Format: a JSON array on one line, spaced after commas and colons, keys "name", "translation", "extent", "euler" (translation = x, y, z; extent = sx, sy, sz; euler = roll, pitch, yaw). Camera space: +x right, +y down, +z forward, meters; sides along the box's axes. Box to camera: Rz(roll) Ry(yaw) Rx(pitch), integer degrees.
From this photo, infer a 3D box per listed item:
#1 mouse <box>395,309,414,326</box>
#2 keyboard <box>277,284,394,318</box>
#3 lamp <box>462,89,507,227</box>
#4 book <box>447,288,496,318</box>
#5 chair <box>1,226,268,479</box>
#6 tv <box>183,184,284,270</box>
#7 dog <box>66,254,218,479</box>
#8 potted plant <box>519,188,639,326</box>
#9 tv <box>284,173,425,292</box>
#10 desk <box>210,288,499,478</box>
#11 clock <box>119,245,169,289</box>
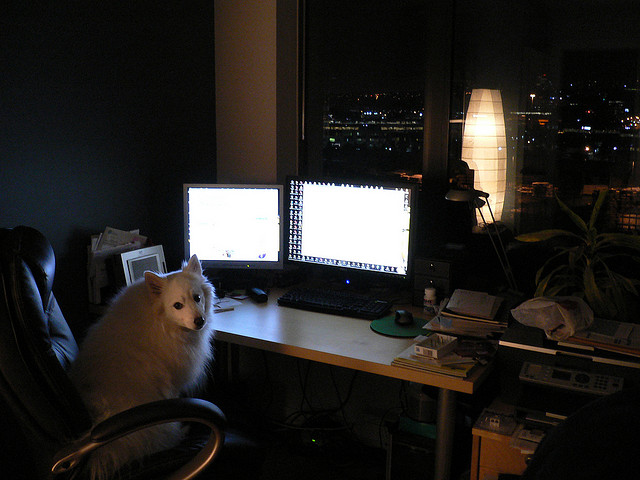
[{"name": "mouse", "translation": [0.386, 0.353, 2.530], "extent": [0.056, 0.048, 0.065], "euler": [0, 4, -3]}, {"name": "keyboard", "translation": [0.067, 0.308, 2.731], "extent": [0.547, 0.060, 0.192], "euler": [5, 15, 21]}, {"name": "lamp", "translation": [0.860, -0.442, 2.885], "extent": [0.231, 0.671, 0.063], "euler": [4, 14, 21]}, {"name": "book", "translation": [0.692, 0.289, 2.523], "extent": [0.129, 0.035, 0.135], "euler": [14, 40, 25]}, {"name": "chair", "translation": [-0.733, 0.383, 2.377], "extent": [0.953, 1.208, 0.816], "euler": [-6, 8, -18]}, {"name": "tv", "translation": [-0.472, -0.088, 2.916], "extent": [0.414, 0.384, 0.034], "euler": [0, 5, -1]}, {"name": "dog", "translation": [-0.679, 0.472, 2.194], "extent": [0.505, 0.670, 0.745], "euler": [12, 18, 43]}, {"name": "potted plant", "translation": [1.183, 0.069, 2.493], "extent": [0.536, 0.583, 0.594], "euler": [4, 14, 21]}, {"name": "tv", "translation": [0.140, -0.071, 2.815], "extent": [0.701, 0.477, 0.177], "euler": [8, 16, 34]}, {"name": "desk", "translation": [0.042, 0.644, 2.446], "extent": [1.292, 0.566, 0.534], "euler": [9, 16, 34]}, {"name": "clock", "translation": [-0.888, 0.117, 2.773], "extent": [0.159, 0.208, 0.288], "euler": [-15, 3, 25]}]
